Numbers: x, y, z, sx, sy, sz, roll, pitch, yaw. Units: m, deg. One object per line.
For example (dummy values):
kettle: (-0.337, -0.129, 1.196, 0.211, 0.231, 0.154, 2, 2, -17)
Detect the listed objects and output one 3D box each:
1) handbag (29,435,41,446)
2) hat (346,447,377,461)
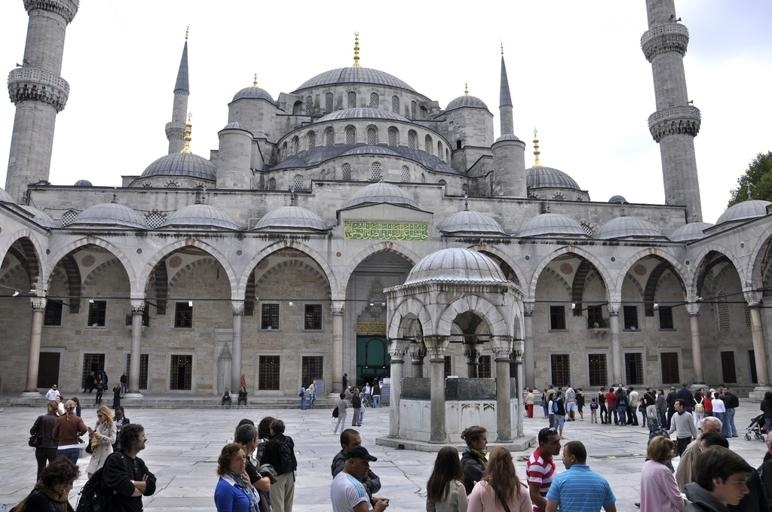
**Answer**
handbag: (-7.555, 4.008, 15.595, 0.192, 0.271, 0.396, 10, -16, -34)
hat: (-0.404, 3.406, 12.417, 0.439, 0.203, 0.278, 3, -12, -1)
